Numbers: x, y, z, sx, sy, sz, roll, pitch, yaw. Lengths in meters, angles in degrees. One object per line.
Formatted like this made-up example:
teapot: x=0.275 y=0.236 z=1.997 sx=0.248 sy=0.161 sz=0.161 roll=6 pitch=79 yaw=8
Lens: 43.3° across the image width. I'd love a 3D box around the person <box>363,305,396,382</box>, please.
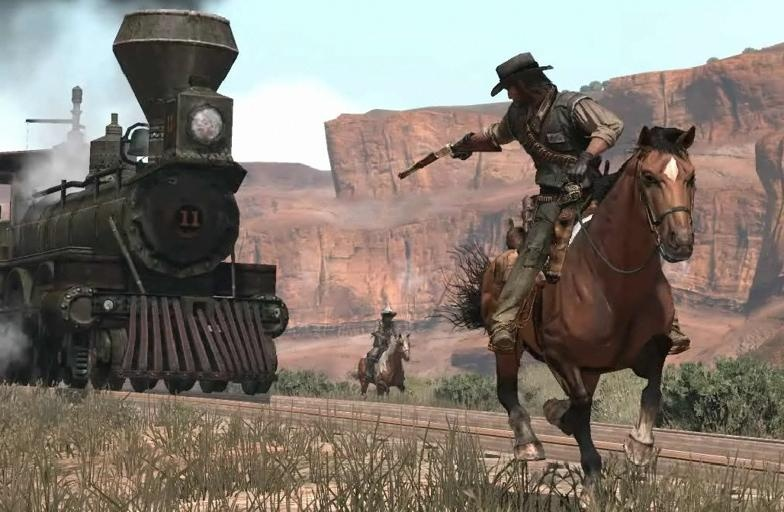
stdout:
person: x=-0.414 y=2.786 z=31.217 sx=0.960 sy=2.417 sz=1.414 roll=-1 pitch=-5 yaw=0
